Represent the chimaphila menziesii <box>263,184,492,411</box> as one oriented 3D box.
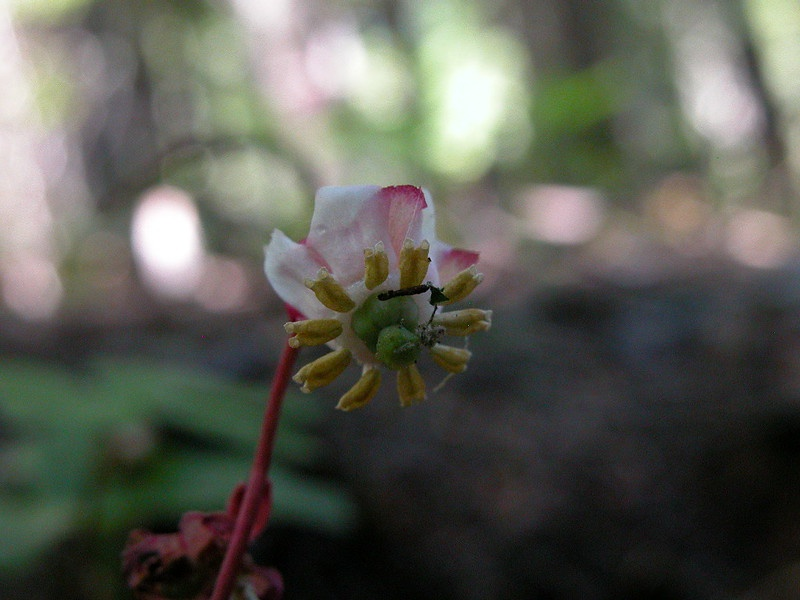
[{"bbox_3d":[-0.018,-0.013,0.832,0.193,0.093,0.177,-14,72,-12],"label":"chimaphila menziesii"}]
